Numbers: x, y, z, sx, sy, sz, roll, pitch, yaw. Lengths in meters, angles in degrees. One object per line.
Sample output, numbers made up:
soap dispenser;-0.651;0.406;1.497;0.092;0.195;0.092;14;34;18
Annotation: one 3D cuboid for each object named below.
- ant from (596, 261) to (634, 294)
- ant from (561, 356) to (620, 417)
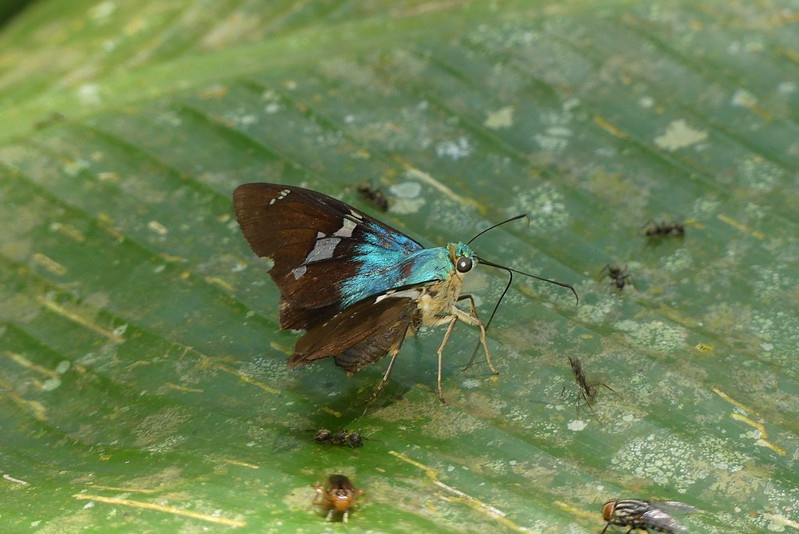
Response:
ant;1.316;0.063;4.504;0.218;0.059;0.170;-4;49;8
ant;1.027;0.653;4.205;0.310;0.088;0.284;-18;58;-23
